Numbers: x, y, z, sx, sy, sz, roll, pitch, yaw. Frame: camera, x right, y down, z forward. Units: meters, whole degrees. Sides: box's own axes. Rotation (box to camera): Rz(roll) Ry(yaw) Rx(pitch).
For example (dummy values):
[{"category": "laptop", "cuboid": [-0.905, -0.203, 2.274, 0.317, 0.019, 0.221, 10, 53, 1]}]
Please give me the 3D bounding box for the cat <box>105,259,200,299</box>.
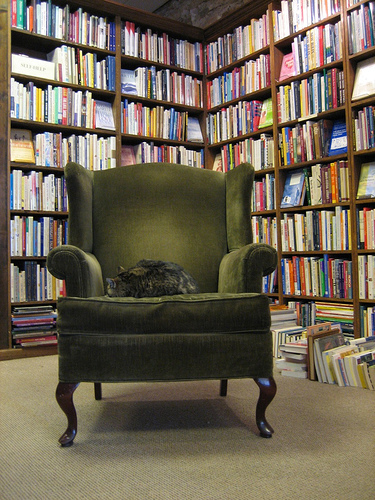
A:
[{"category": "cat", "cuboid": [-0.133, 0.091, 1.496, 0.248, 0.100, 0.147, 1, 0, -6]}]
